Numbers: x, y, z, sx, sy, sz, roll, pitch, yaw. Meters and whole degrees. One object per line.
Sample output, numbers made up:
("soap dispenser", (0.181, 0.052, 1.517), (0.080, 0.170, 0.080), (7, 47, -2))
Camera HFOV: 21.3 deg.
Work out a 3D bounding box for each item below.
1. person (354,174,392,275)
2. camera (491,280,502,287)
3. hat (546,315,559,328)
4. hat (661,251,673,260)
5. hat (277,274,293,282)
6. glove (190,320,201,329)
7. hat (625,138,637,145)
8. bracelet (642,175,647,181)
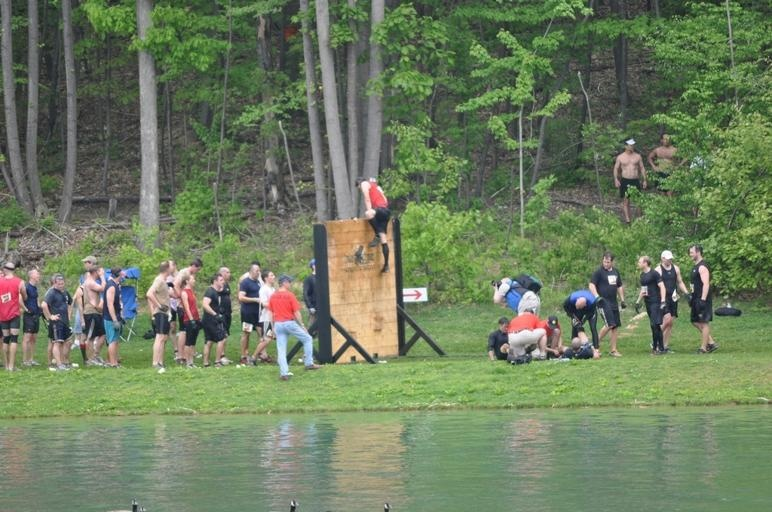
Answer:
("person", (-0.329, -0.974, 68.161), (1.018, 3.117, 0.593), (-3, 2, -23))
("camera", (3.648, 0.930, 68.429), (0.296, 0.151, 0.381), (-3, 4, 7))
("hat", (5.391, 2.076, 66.963), (0.335, 0.241, 0.427), (-2, 41, -13))
("hat", (9.099, -0.016, 67.229), (0.285, 0.175, 0.376), (-4, 9, -31))
("hat", (-3.217, 0.770, 65.324), (0.404, 0.229, 0.305), (-8, 13, -16))
("glove", (-6.273, 2.256, 67.299), (0.285, 0.259, 0.297), (-2, -2, -1))
("hat", (9.009, -4.187, 76.574), (0.322, 0.159, 0.461), (2, 5, -26))
("bracelet", (9.880, -2.944, 78.782), (0.198, 0.216, 0.741), (7, 5, 15))
